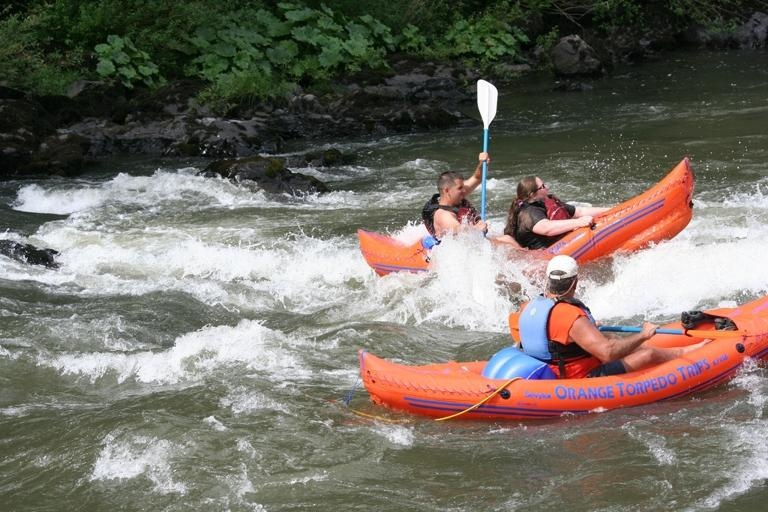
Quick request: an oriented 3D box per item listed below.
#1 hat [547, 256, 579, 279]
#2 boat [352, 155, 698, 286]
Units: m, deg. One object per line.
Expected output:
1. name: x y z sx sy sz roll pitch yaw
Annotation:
1. hat: 2.018 0.132 11.603 0.342 0.244 0.236 -7 12 -10
2. boat: 1.974 -0.331 14.712 5.395 1.024 1.660 -8 -5 13
